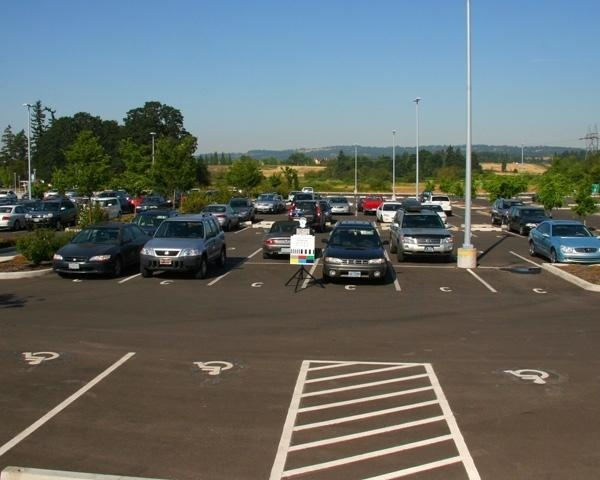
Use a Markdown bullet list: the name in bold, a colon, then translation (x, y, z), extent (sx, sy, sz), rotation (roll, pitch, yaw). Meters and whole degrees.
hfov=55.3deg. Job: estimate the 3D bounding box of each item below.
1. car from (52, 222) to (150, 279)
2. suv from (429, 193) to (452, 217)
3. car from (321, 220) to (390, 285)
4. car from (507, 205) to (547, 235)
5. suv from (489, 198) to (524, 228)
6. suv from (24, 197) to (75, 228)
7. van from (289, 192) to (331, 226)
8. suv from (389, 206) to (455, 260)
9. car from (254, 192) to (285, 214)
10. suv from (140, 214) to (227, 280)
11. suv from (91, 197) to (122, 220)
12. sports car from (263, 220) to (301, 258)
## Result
- **car**: translation (-6.752, 0.299, 19.041), extent (1.815, 1.694, 2.654), rotation (1, 7, 7)
- **suv**: translation (12.306, -3.269, 49.911), extent (1.816, 1.409, 3.776), rotation (0, 2, 8)
- **car**: translation (1.697, 0.442, 18.180), extent (1.908, 1.694, 2.433), rotation (1, 7, 4)
- **car**: translation (12.940, -1.269, 32.531), extent (1.459, 1.091, 3.094), rotation (-1, 1, 5)
- **suv**: translation (14.074, -2.099, 39.508), extent (1.205, 1.153, 2.360), rotation (-1, 5, 2)
- **suv**: translation (-15.455, -1.645, 35.242), extent (1.596, 1.720, 3.497), rotation (1, 7, 6)
- **van**: translation (0.661, -1.920, 35.924), extent (1.918, 1.468, 4.115), rotation (1, 12, 9)
- **suv**: translation (4.739, -0.205, 22.829), extent (1.961, 1.966, 2.785), rotation (0, 7, -1)
- **car**: translation (-2.819, -3.254, 50.203), extent (2.045, 1.690, 3.603), rotation (1, 7, 6)
- **suv**: translation (-3.932, 0.188, 19.084), extent (1.934, 1.981, 2.995), rotation (2, 7, 10)
- **suv**: translation (-13.917, -2.387, 41.588), extent (1.174, 1.383, 3.969), rotation (-1, 7, -11)
- **sports car**: translation (-0.878, 0.022, 23.054), extent (1.323, 1.343, 1.761), rotation (1, 7, 4)
